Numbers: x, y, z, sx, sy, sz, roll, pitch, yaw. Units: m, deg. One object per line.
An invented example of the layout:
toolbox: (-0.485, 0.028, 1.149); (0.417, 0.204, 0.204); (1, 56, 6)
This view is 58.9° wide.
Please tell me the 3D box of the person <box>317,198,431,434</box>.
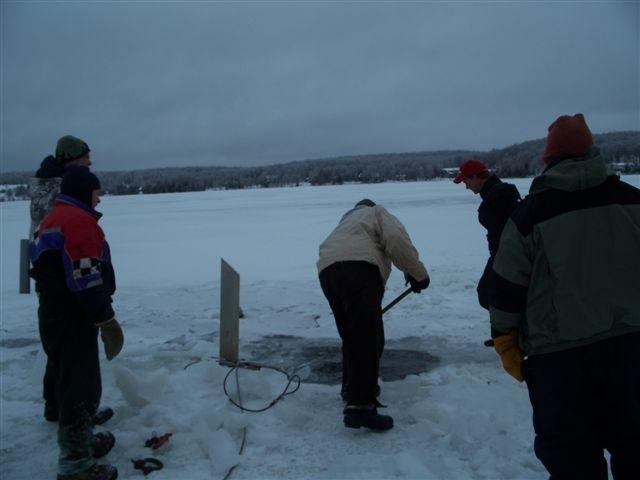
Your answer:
person: (0.373, 0.629, 4.968); (0.938, 1.758, 0.994); (6, 14, 28)

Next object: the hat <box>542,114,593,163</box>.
hat: (1.692, -0.665, 3.824); (0.308, 0.308, 0.234); (-4, -9, 39)

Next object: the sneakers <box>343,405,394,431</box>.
sneakers: (0.390, 1.466, 4.687); (0.489, 0.264, 0.173); (2, -17, -9)

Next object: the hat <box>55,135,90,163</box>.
hat: (-2.238, -0.807, 5.067); (0.275, 0.232, 0.137); (-5, 13, -17)

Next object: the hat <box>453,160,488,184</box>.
hat: (1.705, -0.783, 6.378); (0.326, 0.196, 0.237); (-7, 13, 28)
